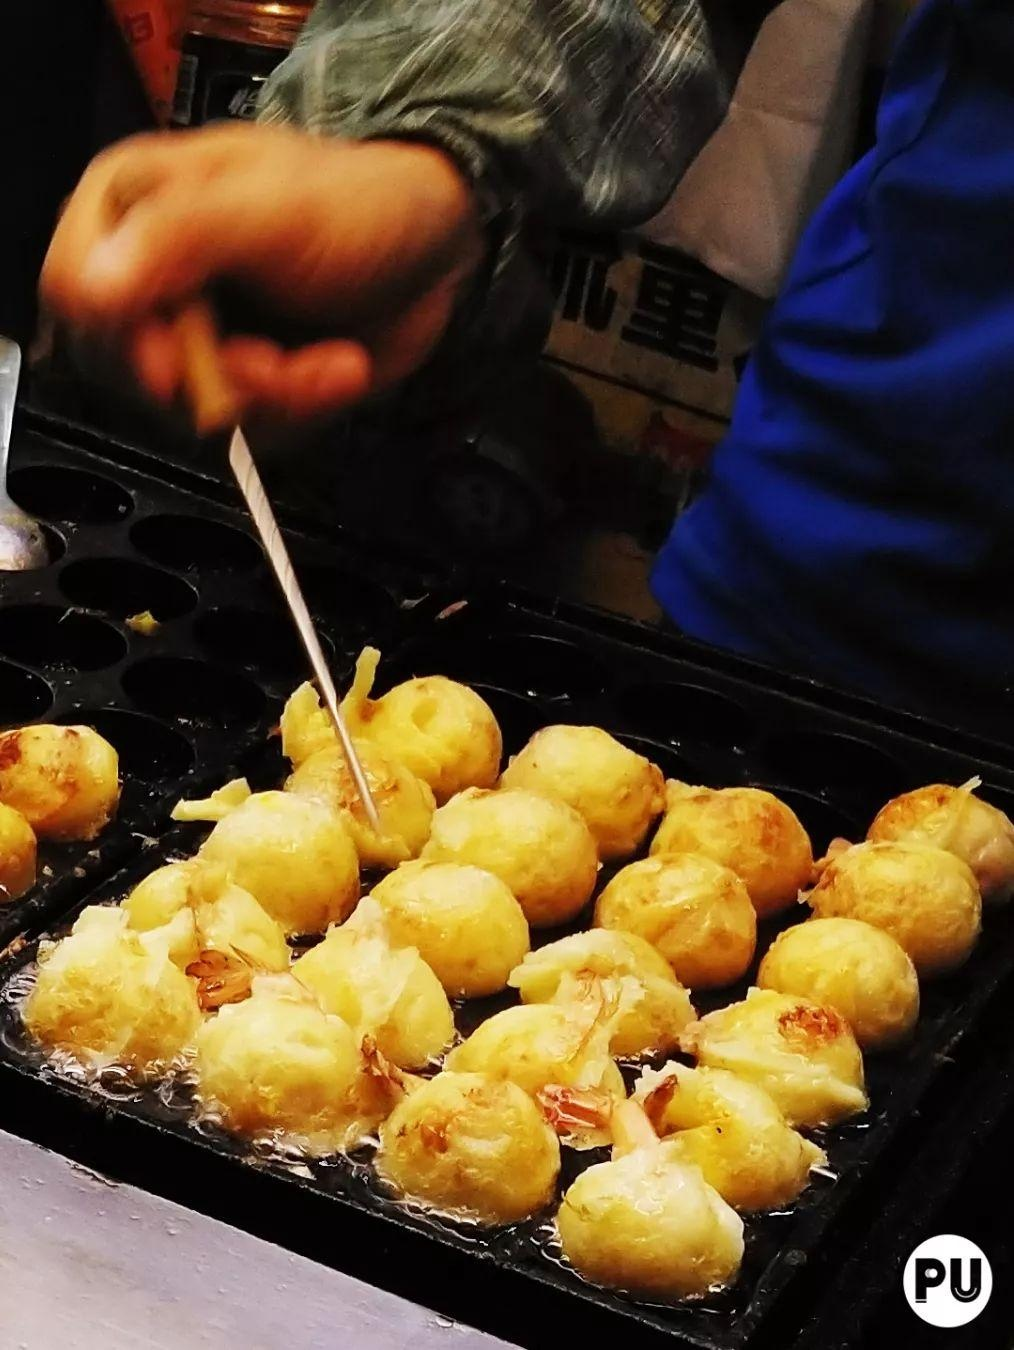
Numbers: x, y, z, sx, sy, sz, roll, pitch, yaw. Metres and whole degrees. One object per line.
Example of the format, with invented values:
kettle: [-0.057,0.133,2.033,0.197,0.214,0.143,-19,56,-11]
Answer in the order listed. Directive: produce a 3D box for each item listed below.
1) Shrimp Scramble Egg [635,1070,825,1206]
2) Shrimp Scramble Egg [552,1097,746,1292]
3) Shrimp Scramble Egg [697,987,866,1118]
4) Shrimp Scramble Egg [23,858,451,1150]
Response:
Shrimp Scramble Egg: [0.127,0.294,0.835,0.093,0.026,0.087,22,14,-10]
Shrimp Scramble Egg: [0.080,0.302,0.749,0.093,0.040,0.087,-12,37,-33]
Shrimp Scramble Egg: [0.179,0.246,0.912,0.100,0.030,0.074,26,47,29]
Shrimp Scramble Egg: [-0.170,0.208,0.859,0.211,0.067,0.149,17,33,16]
